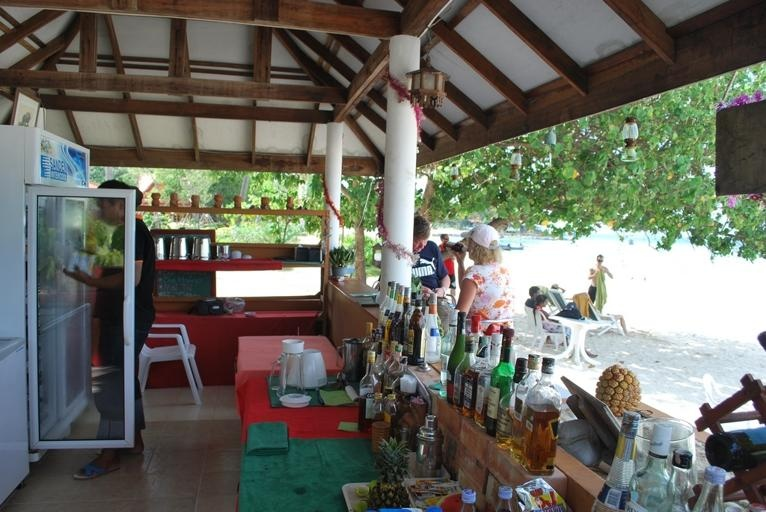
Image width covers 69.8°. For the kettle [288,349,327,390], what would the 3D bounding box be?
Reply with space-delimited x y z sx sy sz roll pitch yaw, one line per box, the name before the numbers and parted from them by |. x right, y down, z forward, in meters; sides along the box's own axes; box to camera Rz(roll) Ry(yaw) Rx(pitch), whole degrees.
kettle | -0.503 0.789 3.851 0.211 0.235 0.340 -3 -2 -35

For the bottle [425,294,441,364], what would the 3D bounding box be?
bottle | 0.314 0.433 3.378 0.099 0.450 0.354 2 4 5

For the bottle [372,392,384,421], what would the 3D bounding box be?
bottle | -0.024 0.853 3.113 0.066 0.170 0.054 3 4 17

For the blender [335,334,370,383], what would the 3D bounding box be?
blender | -0.205 0.702 3.799 0.305 0.318 0.200 -1 9 -12

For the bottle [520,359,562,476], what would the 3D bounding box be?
bottle | 0.719 0.712 2.481 0.169 0.507 0.160 4 6 0

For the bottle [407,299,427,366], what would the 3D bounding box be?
bottle | 0.205 0.481 3.349 0.098 0.351 0.082 2 4 2

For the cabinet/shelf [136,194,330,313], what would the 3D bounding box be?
cabinet/shelf | -1.952 -0.048 7.374 2.246 1.448 1.140 0 4 -21

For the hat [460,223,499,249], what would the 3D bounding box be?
hat | 0.758 -0.153 4.153 0.218 0.175 0.291 3 4 6

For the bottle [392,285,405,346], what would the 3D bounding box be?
bottle | 0.103 0.361 3.490 0.062 0.324 0.200 2 4 2

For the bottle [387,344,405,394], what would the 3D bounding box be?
bottle | 0.073 0.628 3.133 0.117 0.276 0.268 2 4 1

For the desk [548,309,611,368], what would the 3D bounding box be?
desk | 3.126 1.234 8.687 0.811 0.745 1.776 4 5 22

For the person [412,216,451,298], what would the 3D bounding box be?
person | 0.500 -0.008 5.614 0.374 0.785 0.778 2 4 6

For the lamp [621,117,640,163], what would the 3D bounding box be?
lamp | 2.732 -1.291 6.048 0.146 0.466 0.467 4 4 24

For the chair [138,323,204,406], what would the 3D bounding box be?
chair | -2.288 1.140 6.392 0.825 1.087 0.756 0 8 -11

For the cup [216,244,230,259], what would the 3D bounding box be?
cup | -2.045 -0.056 7.096 0.164 0.182 0.164 1 2 0

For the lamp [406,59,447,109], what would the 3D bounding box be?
lamp | 0.441 -1.566 4.979 0.413 0.465 0.415 5 10 26

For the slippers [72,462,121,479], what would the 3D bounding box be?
slippers | -2.363 1.756 4.515 0.234 0.064 0.109 7 0 -37

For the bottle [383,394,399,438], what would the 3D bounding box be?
bottle | 0.044 0.864 3.018 0.065 0.225 0.079 2 4 -1

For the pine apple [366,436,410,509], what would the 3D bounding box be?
pine apple | 0.037 1.052 2.701 0.201 0.282 0.485 2 4 2

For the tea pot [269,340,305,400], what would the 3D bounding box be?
tea pot | -0.657 0.766 3.665 0.301 0.322 0.194 -3 -1 -45

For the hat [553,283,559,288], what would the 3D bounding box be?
hat | 3.265 0.574 10.384 0.111 0.051 0.167 -6 4 10
